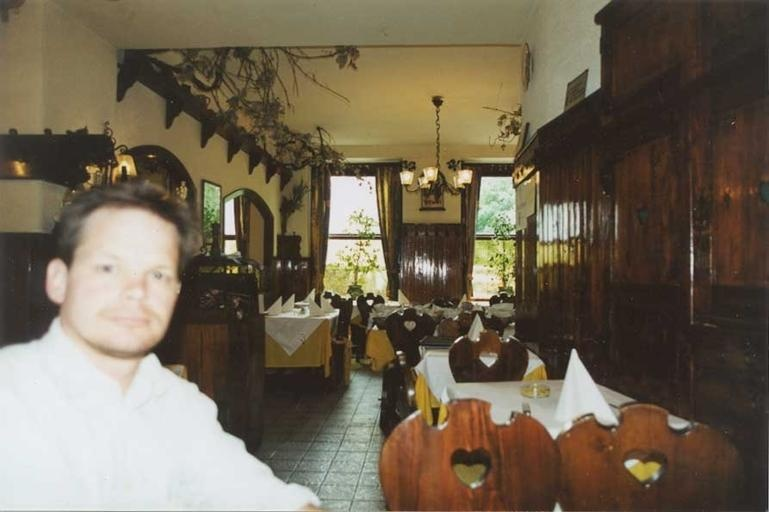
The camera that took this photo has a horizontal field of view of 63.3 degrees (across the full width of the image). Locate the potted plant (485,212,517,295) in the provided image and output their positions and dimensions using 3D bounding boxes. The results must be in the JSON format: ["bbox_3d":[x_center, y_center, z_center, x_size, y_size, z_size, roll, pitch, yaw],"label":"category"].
[{"bbox_3d":[2.199,-0.142,11.728,0.363,1.308,0.584,-2,6,-40],"label":"potted plant"}]

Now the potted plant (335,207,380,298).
[{"bbox_3d":[-0.490,-0.179,12.215,0.853,1.511,0.445,1,5,-5],"label":"potted plant"}]

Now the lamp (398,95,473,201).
[{"bbox_3d":[0.901,-1.823,10.209,1.122,1.566,1.209,-6,14,-19],"label":"lamp"}]
